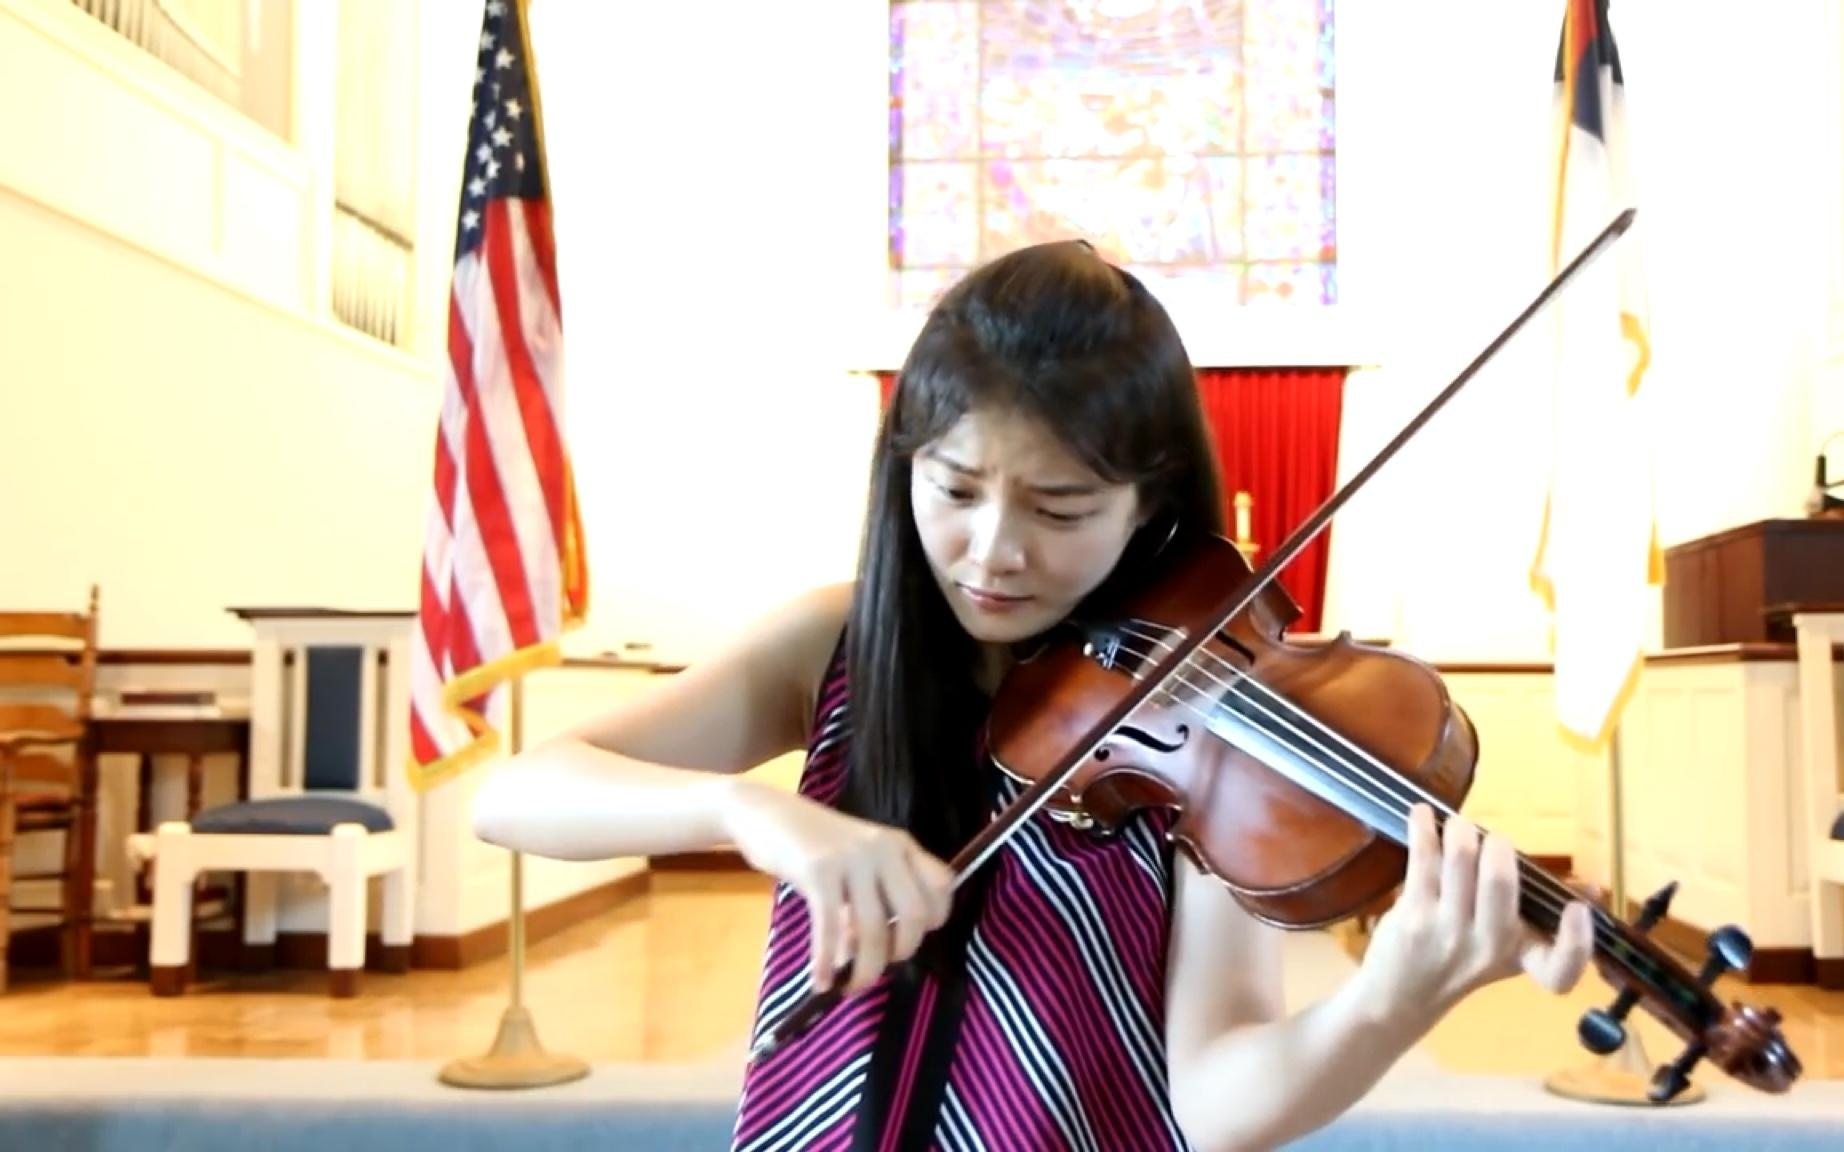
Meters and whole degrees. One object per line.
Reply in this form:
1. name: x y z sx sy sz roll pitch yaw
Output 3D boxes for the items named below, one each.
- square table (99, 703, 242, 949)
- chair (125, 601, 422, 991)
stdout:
1. square table: -3.043 0.981 7.134 0.482 0.609 0.450 14 -7 28
2. chair: -2.471 0.865 6.795 0.863 1.517 0.598 -1 -3 0
